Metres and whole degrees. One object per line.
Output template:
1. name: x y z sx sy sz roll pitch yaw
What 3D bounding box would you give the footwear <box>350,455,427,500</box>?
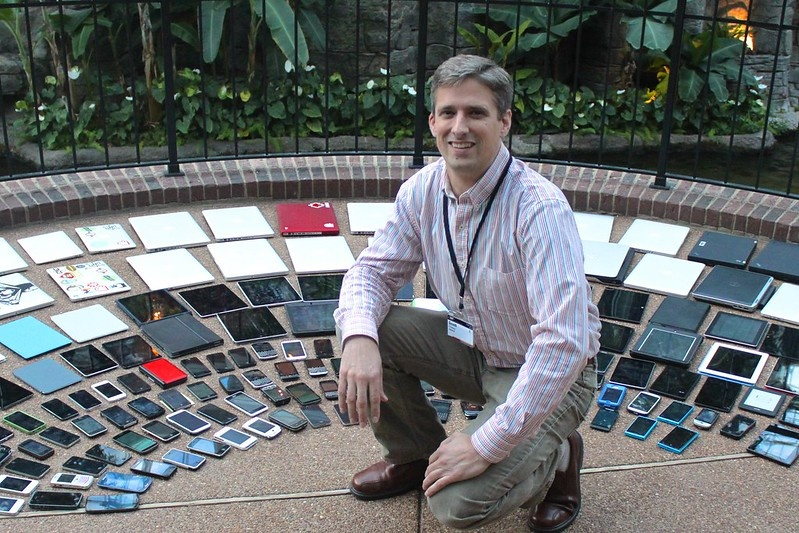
1. footwear: -0.049 0.931 2.442 0.391 0.166 0.142 -3 28 -8

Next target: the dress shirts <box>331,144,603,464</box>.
1. dress shirts: 0.267 0.066 2.153 0.991 0.885 0.728 23 39 37

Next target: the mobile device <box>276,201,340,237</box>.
1. mobile device: -0.771 -0.402 4.704 0.375 0.064 0.391 1 37 -13

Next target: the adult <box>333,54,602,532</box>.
1. adult: 0.314 0.040 2.279 0.890 0.990 1.194 -17 24 -37

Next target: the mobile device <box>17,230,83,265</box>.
1. mobile device: -2.618 -0.147 4.219 0.301 0.015 0.332 -12 31 -29
